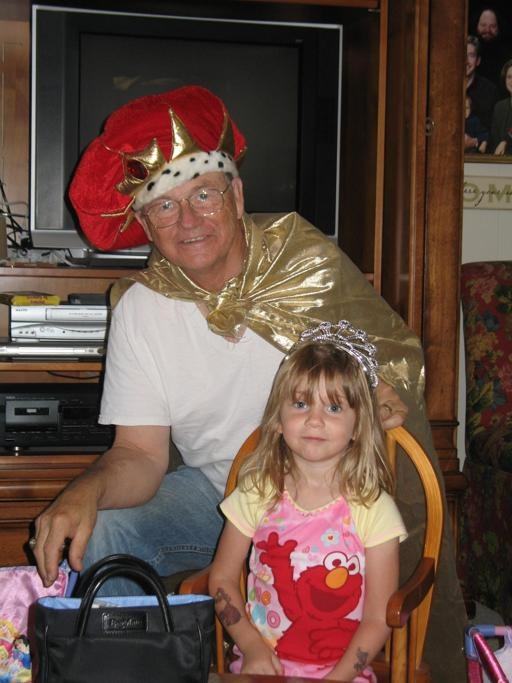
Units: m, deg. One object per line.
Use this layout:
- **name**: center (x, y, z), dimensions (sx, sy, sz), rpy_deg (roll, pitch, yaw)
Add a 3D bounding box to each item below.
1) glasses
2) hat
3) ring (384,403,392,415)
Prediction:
- **glasses**: center (-0.126, -0.236, 1.166), dimensions (0.159, 0.070, 0.056), rpy_deg (-3, 9, -3)
- **hat**: center (-0.196, -0.323, 1.216), dimensions (0.293, 0.289, 0.234), rpy_deg (-1, 9, 13)
- **ring**: center (0.210, 0.107, 1.055), dimensions (0.012, 0.004, 0.015), rpy_deg (-25, 31, 8)
